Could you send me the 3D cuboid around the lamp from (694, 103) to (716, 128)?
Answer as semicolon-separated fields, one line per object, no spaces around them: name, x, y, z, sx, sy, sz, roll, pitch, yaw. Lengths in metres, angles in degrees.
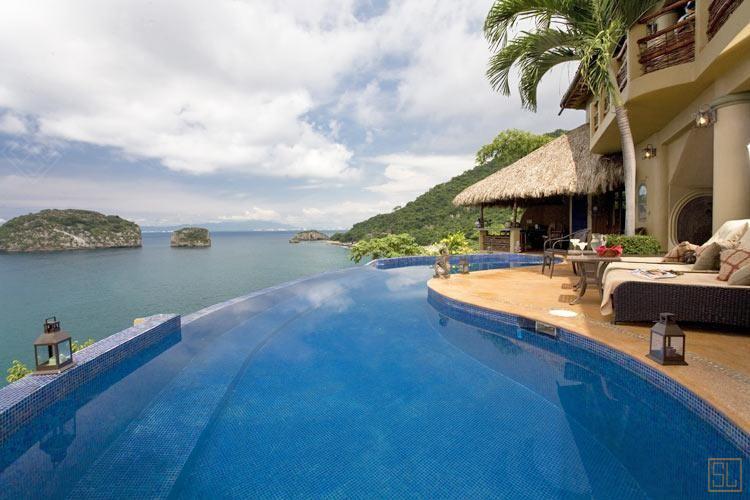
lamp;6.979;-2.843;9.338;0.339;0.381;0.263;0;6;10
